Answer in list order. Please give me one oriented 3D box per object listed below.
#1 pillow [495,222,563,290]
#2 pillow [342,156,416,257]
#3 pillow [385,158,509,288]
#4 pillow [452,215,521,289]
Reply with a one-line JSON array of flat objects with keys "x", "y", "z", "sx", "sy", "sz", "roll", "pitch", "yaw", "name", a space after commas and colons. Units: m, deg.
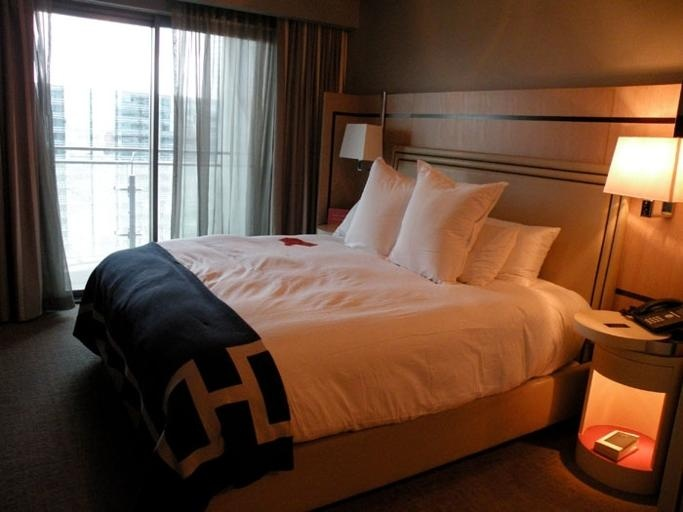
[{"x": 1.202, "y": -0.001, "z": 3.366, "sx": 0.388, "sy": 0.387, "sz": 0.125, "roll": 12, "pitch": -17, "yaw": 38, "name": "pillow"}, {"x": 0.286, "y": -0.330, "z": 3.883, "sx": 0.190, "sy": 0.624, "sz": 0.634, "roll": 18, "pitch": 7, "yaw": -28, "name": "pillow"}, {"x": 0.633, "y": -0.221, "z": 3.751, "sx": 0.605, "sy": 1.005, "sz": 1.039, "roll": -1, "pitch": 12, "yaw": -30, "name": "pillow"}, {"x": 0.952, "y": -0.019, "z": 3.379, "sx": 0.122, "sy": 0.391, "sz": 0.400, "roll": 32, "pitch": -7, "yaw": -38, "name": "pillow"}]
